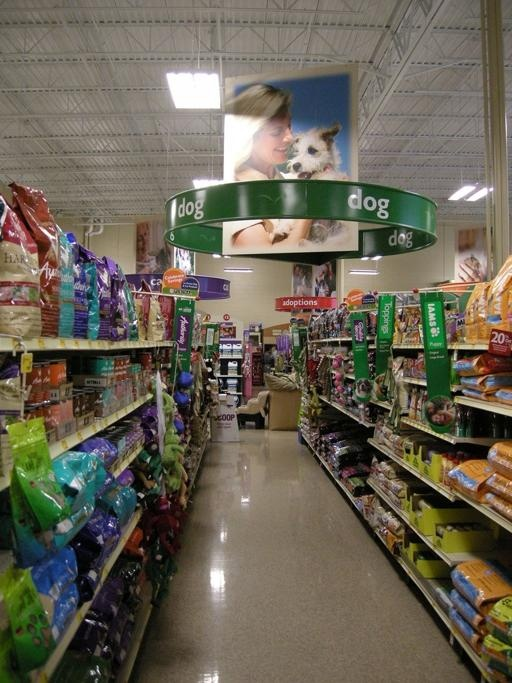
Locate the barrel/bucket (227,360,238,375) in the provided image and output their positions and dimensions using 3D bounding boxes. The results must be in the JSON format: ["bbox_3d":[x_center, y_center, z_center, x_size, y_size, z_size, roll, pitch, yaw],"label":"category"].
[{"bbox_3d":[-0.656,0.720,12.870,0.322,0.374,0.137,0,-2,30],"label":"barrel/bucket"}]

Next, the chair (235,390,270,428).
[{"bbox_3d":[-0.083,1.445,10.262,0.759,0.878,0.641,1,-1,0],"label":"chair"}]

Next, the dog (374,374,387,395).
[{"bbox_3d":[1.032,0.359,3.970,0.056,0.172,0.092,9,-9,-39],"label":"dog"}]

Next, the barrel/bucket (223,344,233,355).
[{"bbox_3d":[-0.786,0.232,12.987,0.264,0.370,0.286,-1,-8,0],"label":"barrel/bucket"}]

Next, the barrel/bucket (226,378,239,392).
[{"bbox_3d":[-0.647,1.159,12.660,0.303,0.372,0.636,1,-1,-4],"label":"barrel/bucket"}]
